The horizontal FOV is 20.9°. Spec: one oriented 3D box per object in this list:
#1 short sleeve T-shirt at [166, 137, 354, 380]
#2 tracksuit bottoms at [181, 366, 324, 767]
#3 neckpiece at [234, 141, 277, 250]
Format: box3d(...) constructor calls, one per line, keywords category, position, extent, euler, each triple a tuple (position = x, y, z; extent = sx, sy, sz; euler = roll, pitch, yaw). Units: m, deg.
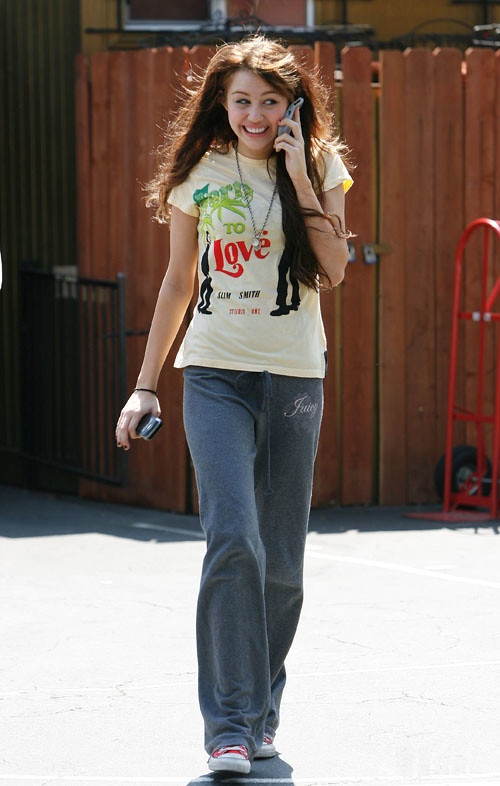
box3d(category="short sleeve T-shirt", position=(-0.003, -0.335, 3.468), extent=(0.399, 0.595, 0.225), euler=(-1, 3, -5))
box3d(category="tracksuit bottoms", position=(0.030, 0.418, 3.372), extent=(0.358, 0.965, 0.367), euler=(-1, 3, -9))
box3d(category="neckpiece", position=(0.012, -0.498, 3.400), extent=(0.063, 0.279, 0.034), euler=(6, -23, -10))
